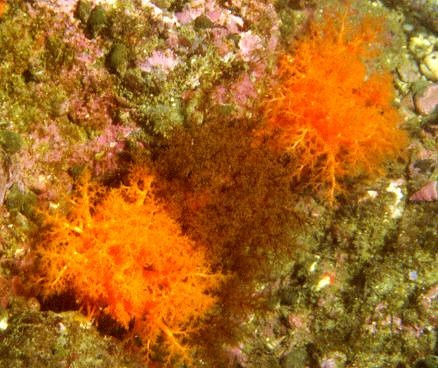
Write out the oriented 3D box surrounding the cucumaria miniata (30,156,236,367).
[{"bbox_3d":[-1.404,1.360,7.680,2.172,1.901,2.862,-9,107,-32],"label":"cucumaria miniata"}]
